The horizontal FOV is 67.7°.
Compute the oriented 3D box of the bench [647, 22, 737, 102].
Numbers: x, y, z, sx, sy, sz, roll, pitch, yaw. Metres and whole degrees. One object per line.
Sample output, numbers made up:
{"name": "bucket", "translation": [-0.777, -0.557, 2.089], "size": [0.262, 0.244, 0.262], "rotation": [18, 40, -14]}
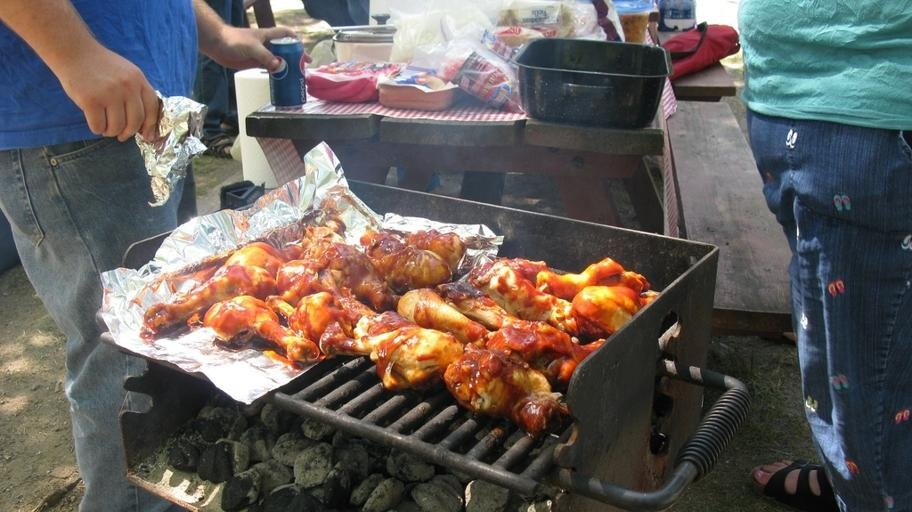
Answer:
{"name": "bench", "translation": [1.842, -1.465, 5.406], "size": [0.704, 0.558, 1.130], "rotation": [6, 32, 15]}

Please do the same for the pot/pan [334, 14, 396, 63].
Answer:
{"name": "pot/pan", "translation": [-0.598, -1.375, 4.469], "size": [0.408, 0.201, 0.378], "rotation": [-6, 31, -5]}

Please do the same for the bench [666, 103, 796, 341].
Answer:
{"name": "bench", "translation": [1.462, -0.136, 3.620], "size": [0.535, 0.406, 1.906], "rotation": [-2, 43, 13]}
